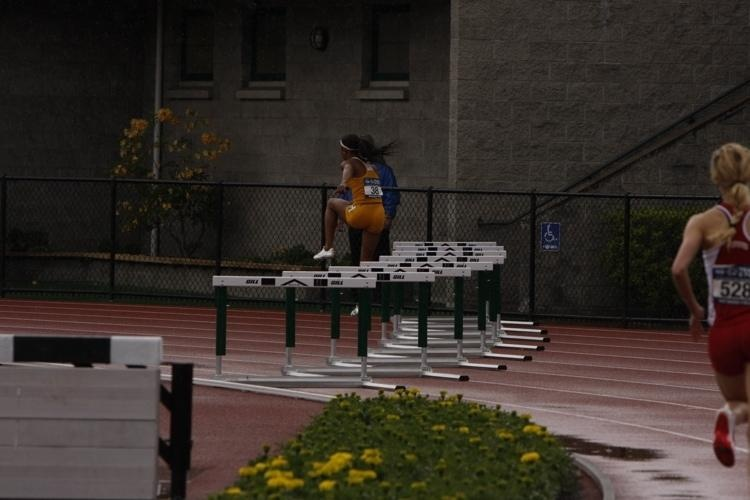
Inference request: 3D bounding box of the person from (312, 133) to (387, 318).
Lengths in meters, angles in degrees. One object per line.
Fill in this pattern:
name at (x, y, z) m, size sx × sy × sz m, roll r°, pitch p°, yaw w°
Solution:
person at (-0.367, -0.498, 18.166) m, size 1.377 × 2.719 × 0.877 m, roll 0°, pitch 0°, yaw -25°
